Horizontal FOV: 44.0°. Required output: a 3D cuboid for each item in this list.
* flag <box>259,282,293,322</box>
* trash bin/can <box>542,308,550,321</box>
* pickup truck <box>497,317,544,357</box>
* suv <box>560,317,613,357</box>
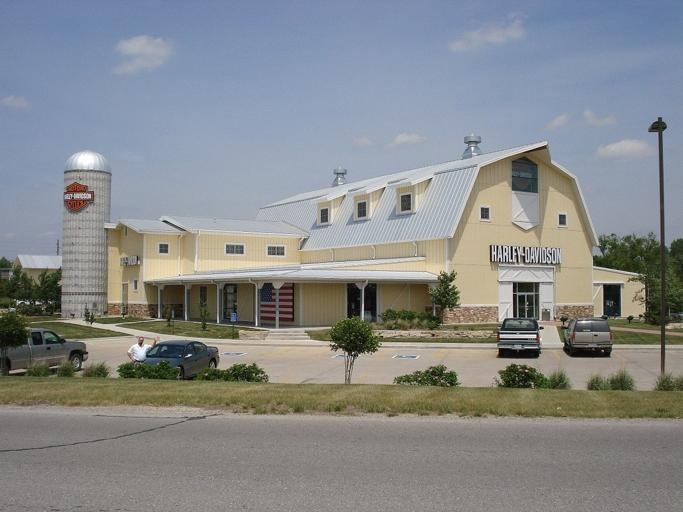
[{"bbox_3d":[-3.837,2.890,49.705,2.571,1.892,0.095,-3,1,35],"label":"flag"},{"bbox_3d":[13.267,3.753,55.005,0.728,0.836,0.727,-1,-2,15],"label":"trash bin/can"},{"bbox_3d":[7.658,3.297,36.012,1.856,1.377,3.679,-1,2,19],"label":"pickup truck"},{"bbox_3d":[10.448,3.319,35.534,2.012,1.620,2.195,-1,-2,18],"label":"suv"}]
